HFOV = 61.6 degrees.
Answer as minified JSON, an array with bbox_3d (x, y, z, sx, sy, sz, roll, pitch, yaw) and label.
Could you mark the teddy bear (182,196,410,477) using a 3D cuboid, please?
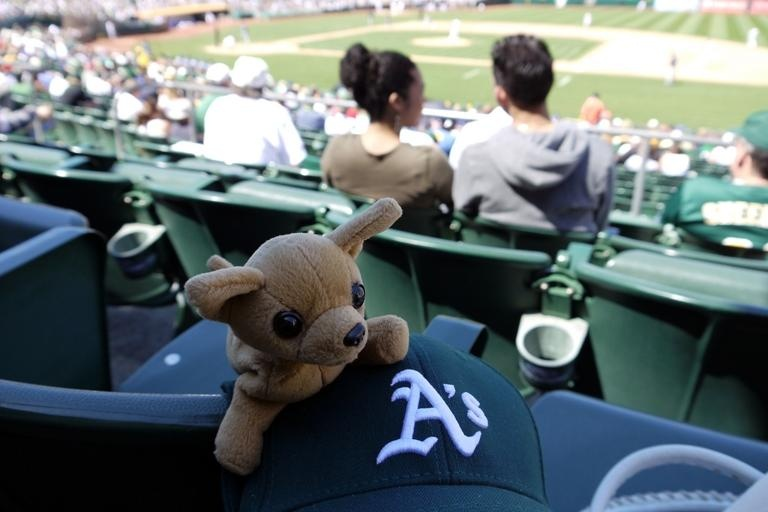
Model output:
[{"bbox_3d":[-0.331,0.096,1.639,0.585,0.478,0.592,10,32,44],"label":"teddy bear"}]
